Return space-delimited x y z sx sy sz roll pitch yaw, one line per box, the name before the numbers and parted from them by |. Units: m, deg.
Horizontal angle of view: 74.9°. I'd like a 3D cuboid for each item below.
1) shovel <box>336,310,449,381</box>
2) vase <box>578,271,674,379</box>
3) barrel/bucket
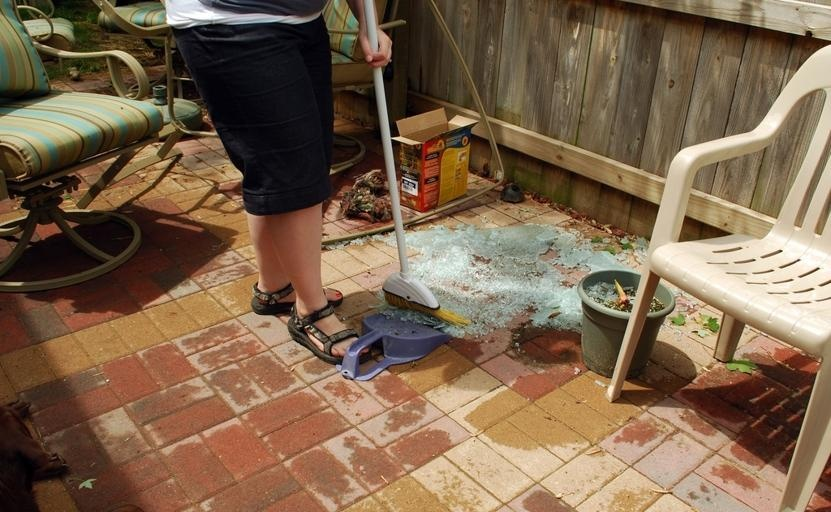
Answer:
shovel | -0.120 0.434 2.811 0.416 0.157 0.684 15 22 31
vase | 1.031 0.310 2.723 0.530 0.499 0.438 -1 2 14
barrel/bucket | 0.938 0.327 2.806 0.573 0.395 0.528 0 36 0
